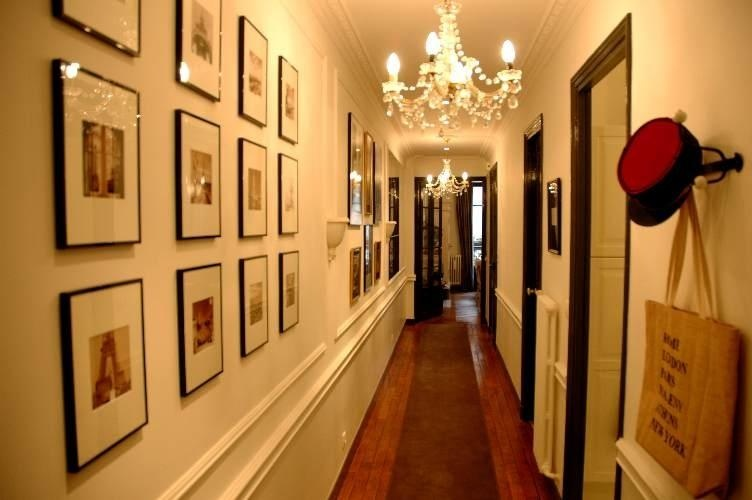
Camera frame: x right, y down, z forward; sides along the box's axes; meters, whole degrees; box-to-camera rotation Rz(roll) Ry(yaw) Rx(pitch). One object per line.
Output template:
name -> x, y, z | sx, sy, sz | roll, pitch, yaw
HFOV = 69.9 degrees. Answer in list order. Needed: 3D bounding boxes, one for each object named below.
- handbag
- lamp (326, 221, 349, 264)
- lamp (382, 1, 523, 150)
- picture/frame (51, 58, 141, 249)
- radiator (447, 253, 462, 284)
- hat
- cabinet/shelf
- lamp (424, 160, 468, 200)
handbag -> 1.192, 0.555, 2.125 | 0.172, 0.643, 0.446 | -3, 5, -8
lamp -> -0.219, -0.054, 3.606 | 0.203, 0.243, 0.215 | 0, -7, 2
lamp -> 0.538, -1.231, 3.772 | 0.838, 1.270, 0.844 | 0, 0, -31
picture/frame -> -0.908, -0.306, 1.746 | 0.036, 0.573, 0.296 | 1, 6, 34
radiator -> 1.837, 0.490, 12.698 | 0.412, 0.605, 0.564 | -1, 1, 17
hat -> 1.175, -0.290, 2.206 | 0.144, 0.443, 0.284 | 6, 16, -44
cabinet/shelf -> 1.438, 0.363, 3.397 | 0.231, 2.283, 0.285 | 0, 6, 26
lamp -> 1.099, -1.059, 8.504 | 0.568, 0.604, 0.614 | 1, 4, 8
